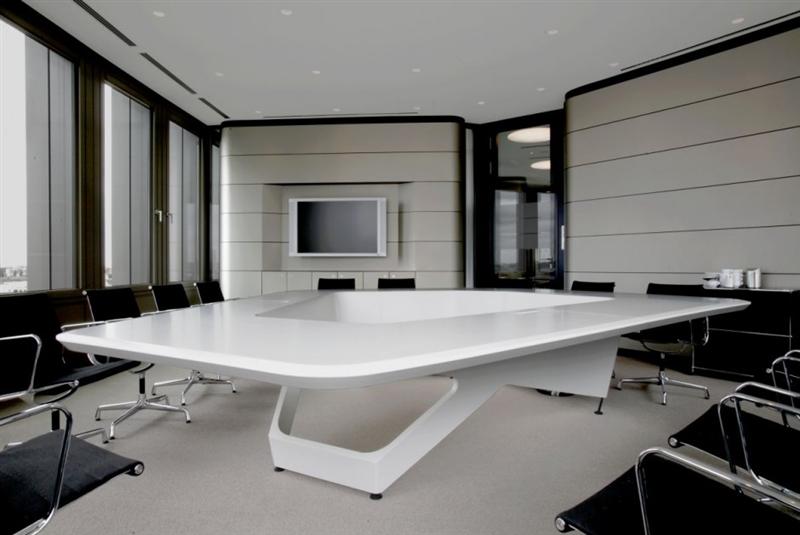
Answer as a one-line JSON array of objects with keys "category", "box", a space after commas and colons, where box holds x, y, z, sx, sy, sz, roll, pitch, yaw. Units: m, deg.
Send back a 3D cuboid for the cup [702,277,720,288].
[{"category": "cup", "box": [3.586, 0.180, 5.896, 0.173, 0.091, 0.238, 3, 8, 36]}]
